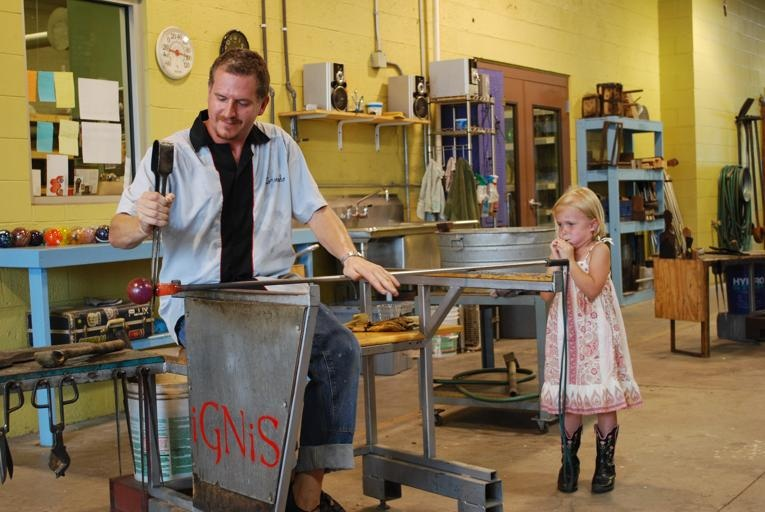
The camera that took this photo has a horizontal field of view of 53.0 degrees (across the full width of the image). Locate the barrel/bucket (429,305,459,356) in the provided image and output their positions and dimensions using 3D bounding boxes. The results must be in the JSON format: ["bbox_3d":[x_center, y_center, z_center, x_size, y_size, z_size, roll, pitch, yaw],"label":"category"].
[{"bbox_3d":[0.570,0.697,7.214,0.357,0.465,0.350,1,12,0],"label":"barrel/bucket"}]

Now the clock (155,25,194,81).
[{"bbox_3d":[-1.668,-1.626,6.164,0.047,0.400,0.355,3,6,32],"label":"clock"}]

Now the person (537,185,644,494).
[{"bbox_3d":[1.117,0.455,4.315,0.564,1.700,0.592,1,0,12],"label":"person"}]

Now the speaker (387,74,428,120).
[{"bbox_3d":[0.265,-1.619,7.904,0.341,0.445,0.354,2,10,27],"label":"speaker"}]

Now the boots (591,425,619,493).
[{"bbox_3d":[1.221,1.105,4.258,0.128,0.359,0.229,0,8,16],"label":"boots"}]

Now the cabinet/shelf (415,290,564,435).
[{"bbox_3d":[0.856,0.721,5.402,0.886,0.924,0.801,8,10,44],"label":"cabinet/shelf"}]

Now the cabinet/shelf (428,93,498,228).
[{"bbox_3d":[0.868,-1.340,8.176,0.264,0.740,0.429,-2,1,29],"label":"cabinet/shelf"}]

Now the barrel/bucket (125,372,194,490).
[{"bbox_3d":[-1.078,0.836,3.783,0.294,0.571,0.291,0,10,0],"label":"barrel/bucket"}]
